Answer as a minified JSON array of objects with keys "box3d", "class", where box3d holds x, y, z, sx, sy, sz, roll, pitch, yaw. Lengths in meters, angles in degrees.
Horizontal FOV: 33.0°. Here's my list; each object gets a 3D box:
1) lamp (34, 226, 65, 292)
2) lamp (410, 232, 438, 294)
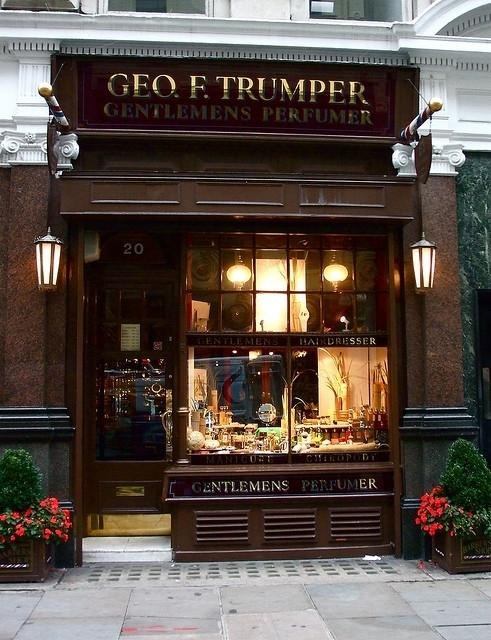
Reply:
[{"box3d":[-1.935,-0.635,8.143,0.331,0.601,0.323,-1,-3,43],"class":"lamp"},{"box3d":[1.817,-0.573,8.446,0.238,0.528,0.180,0,0,12],"class":"lamp"}]
